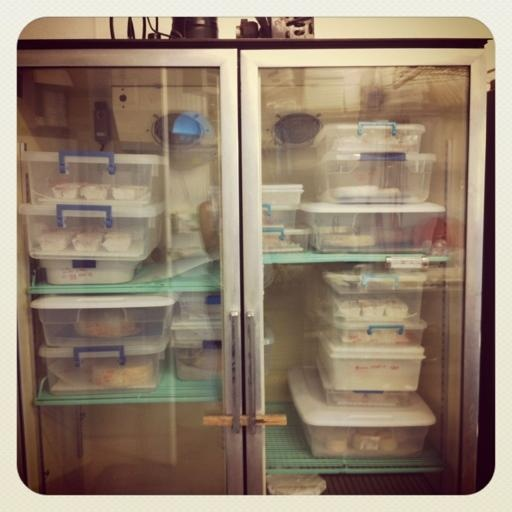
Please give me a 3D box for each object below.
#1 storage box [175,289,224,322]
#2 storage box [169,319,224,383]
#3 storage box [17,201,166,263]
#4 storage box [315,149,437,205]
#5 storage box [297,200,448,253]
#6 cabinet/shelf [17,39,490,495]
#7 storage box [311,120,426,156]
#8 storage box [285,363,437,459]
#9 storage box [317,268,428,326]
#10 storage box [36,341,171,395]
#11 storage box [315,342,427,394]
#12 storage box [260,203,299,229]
[{"bbox_3d":[-0.159,0.144,1.630,0.124,0.073,0.034,0,13,6],"label":"storage box"},{"bbox_3d":[-0.165,0.273,1.641,0.206,0.162,0.152,0,0,-5],"label":"storage box"},{"bbox_3d":[-0.470,-0.089,1.789,0.417,0.142,0.449,-9,-5,7],"label":"storage box"},{"bbox_3d":[0.344,-0.221,1.619,0.247,0.093,0.174,0,6,0],"label":"storage box"},{"bbox_3d":[0.334,-0.078,1.624,0.300,0.090,0.183,0,0,-3],"label":"storage box"},{"bbox_3d":[-0.004,-0.007,1.611,1.490,1.151,0.513,1,6,0],"label":"cabinet/shelf"},{"bbox_3d":[0.325,-0.337,1.608,0.220,0.067,0.121,-1,19,0],"label":"storage box"},{"bbox_3d":[0.385,0.518,1.840,0.453,0.137,0.470,-4,1,24],"label":"storage box"},{"bbox_3d":[0.322,0.114,1.574,0.264,0.106,0.154,0,1,-4],"label":"storage box"},{"bbox_3d":[-0.442,0.324,1.640,0.260,0.084,0.171,-1,-2,-6],"label":"storage box"},{"bbox_3d":[0.342,0.323,1.650,0.209,0.075,0.190,0,-1,2],"label":"storage box"},{"bbox_3d":[0.066,-0.115,1.613,0.131,0.073,0.065,1,-1,-9],"label":"storage box"}]
